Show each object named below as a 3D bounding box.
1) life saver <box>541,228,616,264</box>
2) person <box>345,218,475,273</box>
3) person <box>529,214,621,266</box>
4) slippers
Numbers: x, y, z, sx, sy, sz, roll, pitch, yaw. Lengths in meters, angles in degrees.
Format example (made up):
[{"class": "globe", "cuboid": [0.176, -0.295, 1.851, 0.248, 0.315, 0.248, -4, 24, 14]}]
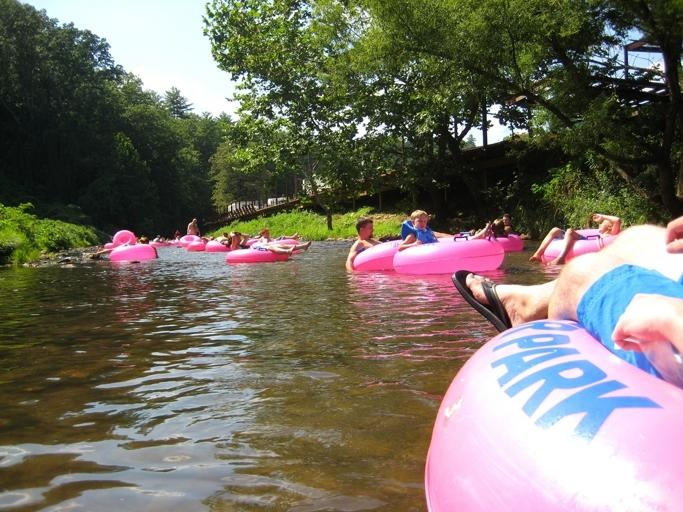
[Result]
[{"class": "life saver", "cuboid": [4.429, -0.217, 9.400, 1.381, 0.348, 1.352, -9, 4, 15]}, {"class": "person", "cuboid": [1.514, -0.040, 9.596, 1.316, 0.404, 1.165, -5, 7, 44]}, {"class": "person", "cuboid": [4.529, -0.083, 9.455, 1.564, 0.400, 1.537, -23, 5, -43]}, {"class": "slippers", "cuboid": [0.874, 0.253, 3.184, 0.200, 0.520, 0.124, 15, -53, -37]}]
